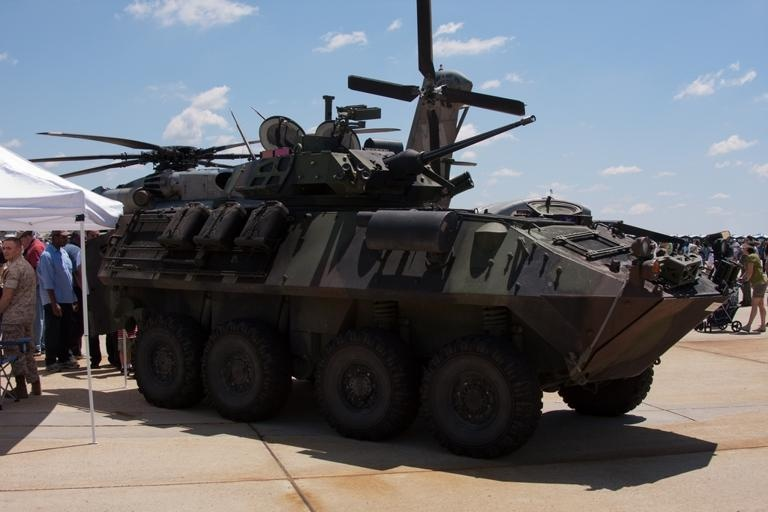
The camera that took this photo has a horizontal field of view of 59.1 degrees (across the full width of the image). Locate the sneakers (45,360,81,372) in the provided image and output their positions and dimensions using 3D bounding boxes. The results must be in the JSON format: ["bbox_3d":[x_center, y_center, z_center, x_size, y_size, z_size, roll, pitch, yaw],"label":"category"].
[{"bbox_3d":[-5.997,2.070,12.647,0.524,0.227,0.192,10,-14,-15],"label":"sneakers"}]

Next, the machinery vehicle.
[{"bbox_3d":[0.035,0.188,10.694,9.599,4.550,4.340,1,1,33],"label":"machinery vehicle"}]
